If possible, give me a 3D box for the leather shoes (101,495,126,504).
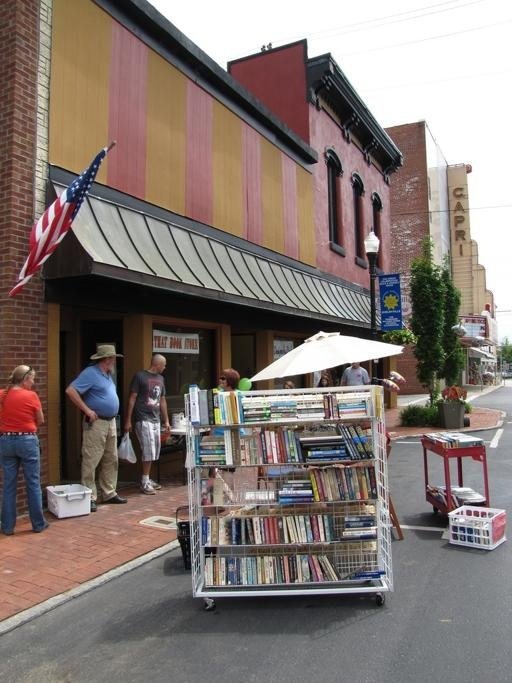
[{"bbox_3d":[-1.797,2.007,7.638,0.310,0.143,0.115,1,-2,-2],"label":"leather shoes"}]

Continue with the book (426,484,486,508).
[{"bbox_3d":[2.192,1.683,6.560,0.387,0.179,0.848,-1,-3,-2],"label":"book"}]

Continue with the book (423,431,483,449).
[{"bbox_3d":[2.158,1.091,6.620,0.427,0.104,0.618,-1,-3,2],"label":"book"}]

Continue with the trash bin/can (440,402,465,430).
[{"bbox_3d":[5.153,1.979,15.965,0.662,0.701,0.654,-1,-7,2],"label":"trash bin/can"}]

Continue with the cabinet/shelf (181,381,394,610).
[{"bbox_3d":[0.238,1.199,4.522,1.386,1.555,0.507,-2,-9,4],"label":"cabinet/shelf"}]

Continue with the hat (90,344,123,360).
[{"bbox_3d":[-1.886,0.150,7.548,0.337,0.146,0.308,-6,7,-15],"label":"hat"}]

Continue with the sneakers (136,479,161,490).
[{"bbox_3d":[-1.461,2.009,8.458,0.131,0.163,0.375,-1,-3,11],"label":"sneakers"}]

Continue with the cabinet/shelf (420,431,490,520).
[{"bbox_3d":[2.376,1.647,7.255,0.446,1.029,1.020,-4,3,-4],"label":"cabinet/shelf"}]

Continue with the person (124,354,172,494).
[{"bbox_3d":[-1.547,1.163,8.668,0.603,1.919,1.118,0,-3,-8],"label":"person"}]

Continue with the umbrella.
[{"bbox_3d":[0.727,0.116,5.470,1.326,0.430,1.024,1,-3,-26],"label":"umbrella"}]

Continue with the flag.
[{"bbox_3d":[-2.116,-1.182,6.398,1.042,1.320,0.403,-2,-3,25],"label":"flag"}]

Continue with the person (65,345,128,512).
[{"bbox_3d":[-1.933,1.050,7.434,0.425,1.992,0.834,-2,-3,20],"label":"person"}]

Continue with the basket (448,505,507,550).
[{"bbox_3d":[2.079,1.761,5.740,0.515,0.320,0.559,-2,-3,28],"label":"basket"}]

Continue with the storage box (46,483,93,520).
[{"bbox_3d":[-2.159,1.864,7.029,0.473,0.299,0.551,1,-3,-30],"label":"storage box"}]

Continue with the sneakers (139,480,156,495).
[{"bbox_3d":[-1.483,2.011,8.325,0.192,0.181,0.322,0,-3,-10],"label":"sneakers"}]
